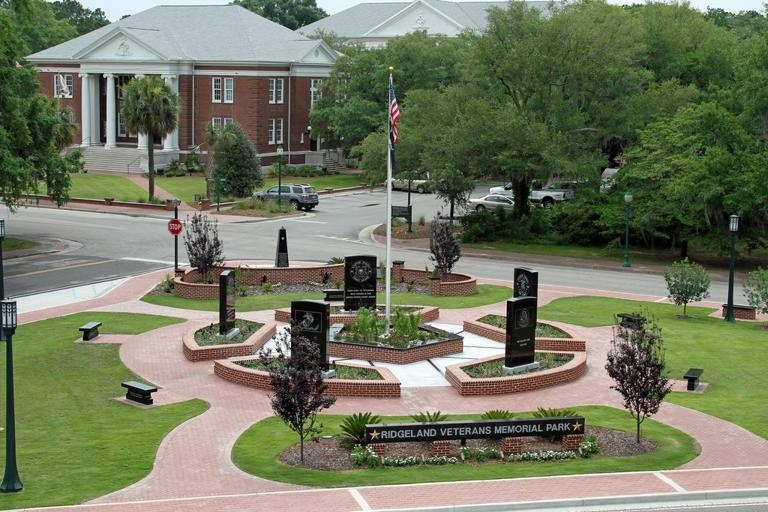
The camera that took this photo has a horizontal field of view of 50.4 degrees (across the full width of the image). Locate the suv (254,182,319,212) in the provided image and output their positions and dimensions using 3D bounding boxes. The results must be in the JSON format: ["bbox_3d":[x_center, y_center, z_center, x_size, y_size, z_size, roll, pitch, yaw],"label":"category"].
[{"bbox_3d":[-7.314,-4.547,61.729,4.622,1.530,2.059,6,9,20],"label":"suv"}]

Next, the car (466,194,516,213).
[{"bbox_3d":[7.807,-3.823,59.514,3.265,0.895,1.430,-1,7,16],"label":"car"}]

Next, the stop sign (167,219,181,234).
[{"bbox_3d":[-9.681,-1.381,38.002,0.433,0.713,0.616,1,7,5],"label":"stop sign"}]

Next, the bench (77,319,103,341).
[{"bbox_3d":[-10.834,2.744,30.093,0.711,0.577,0.993,-2,7,-20],"label":"bench"}]

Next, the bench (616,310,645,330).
[{"bbox_3d":[8.824,2.313,29.270,1.044,0.577,1.352,-4,3,-37],"label":"bench"}]
